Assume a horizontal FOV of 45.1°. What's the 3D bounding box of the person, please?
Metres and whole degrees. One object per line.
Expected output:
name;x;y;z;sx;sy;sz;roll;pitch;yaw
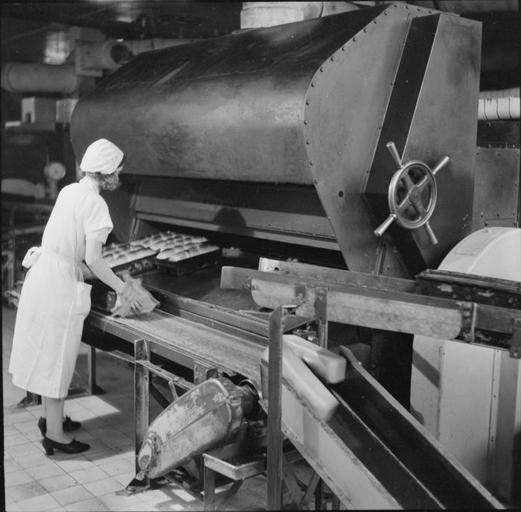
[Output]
person;-1.040;0.245;3.504;0.723;1.751;0.409;-3;8;-14

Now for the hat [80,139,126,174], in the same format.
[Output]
hat;-0.852;-0.531;3.449;0.221;0.155;0.165;-20;58;-36
